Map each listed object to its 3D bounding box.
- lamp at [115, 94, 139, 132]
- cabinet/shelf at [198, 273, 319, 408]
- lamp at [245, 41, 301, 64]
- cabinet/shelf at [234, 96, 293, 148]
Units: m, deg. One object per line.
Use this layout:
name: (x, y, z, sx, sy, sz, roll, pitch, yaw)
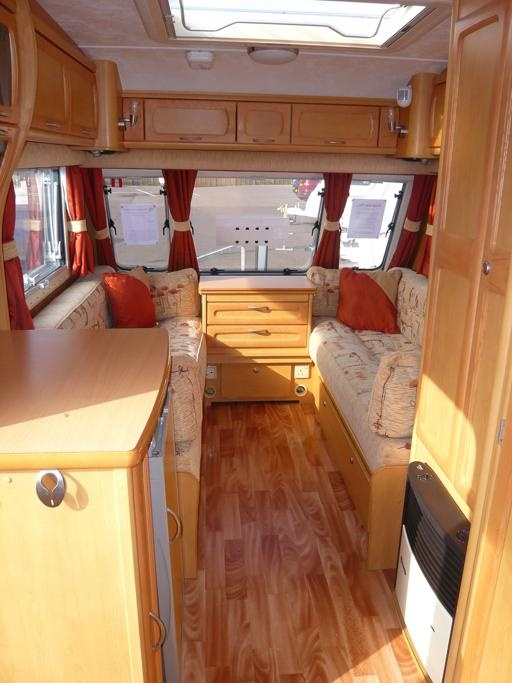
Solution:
lamp: (-0.864, -1.546, 3.131, 0.122, 0.207, 0.093, 4, 13, -4)
cabinet/shelf: (0.003, -0.068, 3.991, 0.947, 1.072, 0.604, 0, 25, -2)
lamp: (0.095, -1.596, 2.545, 0.224, 0.068, 0.288, 15, 17, 34)
cabinet/shelf: (0.055, -1.556, 3.265, 0.418, 0.323, 0.253, -1, 28, -4)
